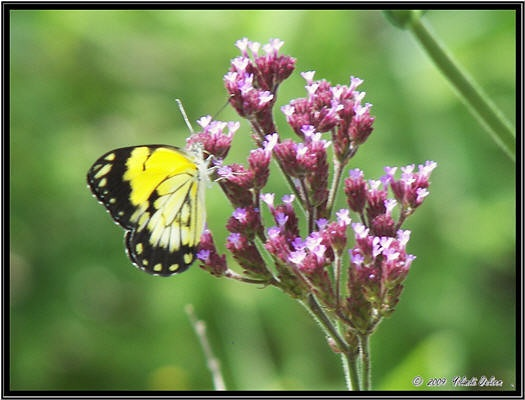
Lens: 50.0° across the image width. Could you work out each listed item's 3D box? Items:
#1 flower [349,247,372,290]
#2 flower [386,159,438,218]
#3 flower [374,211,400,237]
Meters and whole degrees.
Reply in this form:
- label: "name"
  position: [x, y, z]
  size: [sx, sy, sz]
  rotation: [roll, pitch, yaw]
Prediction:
- label: "flower"
  position: [0.750, 0.527, 4.291]
  size: [0.171, 0.200, 0.309]
  rotation: [14, -69, 10]
- label: "flower"
  position: [1.192, -0.066, 4.602]
  size: [0.390, 0.435, 0.369]
  rotation: [-1, -15, 11]
- label: "flower"
  position: [0.942, 0.189, 4.394]
  size: [0.151, 0.200, 0.160]
  rotation: [-11, -10, -12]
